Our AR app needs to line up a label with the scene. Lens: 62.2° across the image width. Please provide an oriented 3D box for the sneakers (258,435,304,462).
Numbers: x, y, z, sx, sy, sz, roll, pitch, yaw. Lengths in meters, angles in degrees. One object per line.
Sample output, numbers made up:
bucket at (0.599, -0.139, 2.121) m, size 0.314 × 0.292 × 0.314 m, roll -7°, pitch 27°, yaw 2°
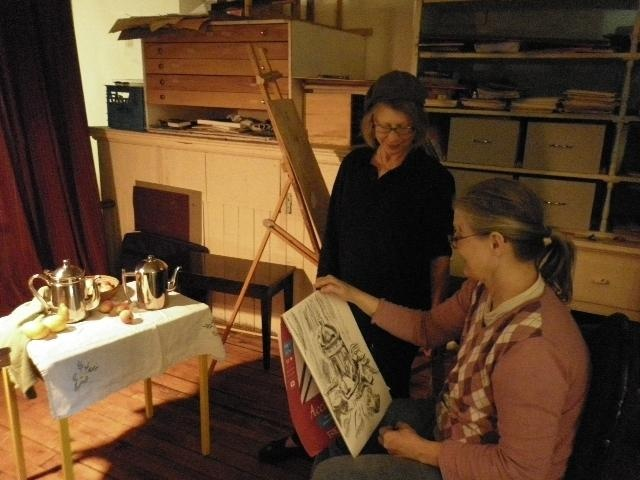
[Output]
sneakers at (-0.202, 1.080, 2.723) m, size 0.224 × 0.066 × 0.122 m, roll -10°, pitch 18°, yaw -38°

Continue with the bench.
bench at (-0.614, 0.374, 3.063) m, size 0.766 × 0.387 × 0.254 m, roll 9°, pitch 19°, yaw 23°

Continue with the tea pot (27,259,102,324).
tea pot at (-1.132, 0.232, 2.358) m, size 0.269 × 0.249 × 0.161 m, roll -2°, pitch 18°, yaw -26°

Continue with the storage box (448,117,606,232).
storage box at (1.065, -0.344, 2.636) m, size 0.640 × 0.536 × 0.245 m, roll 8°, pitch 14°, yaw 23°

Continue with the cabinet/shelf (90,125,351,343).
cabinet/shelf at (-0.576, -0.058, 3.272) m, size 1.440 × 1.337 × 0.464 m, roll 7°, pitch 16°, yaw 20°

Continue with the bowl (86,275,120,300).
bowl at (-1.024, 0.215, 2.529) m, size 0.117 × 0.051 × 0.115 m, roll 2°, pitch 18°, yaw -1°

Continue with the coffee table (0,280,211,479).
coffee table at (-0.962, 0.697, 2.525) m, size 0.857 × 0.892 × 0.538 m, roll -14°, pitch 22°, yaw -43°

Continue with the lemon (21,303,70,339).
lemon at (-1.160, 0.331, 2.229) m, size 0.106 × 0.070 × 0.171 m, roll 10°, pitch 15°, yaw 19°

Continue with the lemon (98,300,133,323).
lemon at (-0.912, 0.322, 2.401) m, size 0.119 × 0.042 × 0.117 m, roll 24°, pitch 21°, yaw 34°

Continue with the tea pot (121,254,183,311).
tea pot at (-0.805, 0.203, 2.523) m, size 0.256 × 0.242 × 0.151 m, roll -8°, pitch 12°, yaw -38°

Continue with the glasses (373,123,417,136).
glasses at (0.317, -0.475, 2.283) m, size 0.168 × 0.041 × 0.048 m, roll 5°, pitch 16°, yaw 11°
